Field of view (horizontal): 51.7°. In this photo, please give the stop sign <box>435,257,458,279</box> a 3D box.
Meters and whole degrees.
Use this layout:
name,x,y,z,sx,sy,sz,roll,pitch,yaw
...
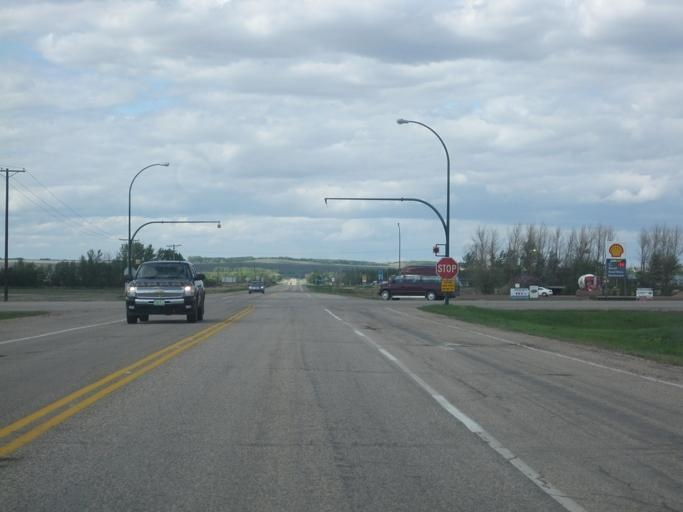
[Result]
name,x,y,z,sx,sy,sz,roll,pitch,yaw
stop sign,4.996,0.553,33.443,1.111,1.171,0.152,-1,6,3

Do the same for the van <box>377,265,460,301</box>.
name,x,y,z,sx,sy,sz,roll,pitch,yaw
van,5.604,2.313,54.653,5.017,2.105,3.466,2,-2,6

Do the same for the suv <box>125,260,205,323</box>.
name,x,y,z,sx,sy,sz,roll,pitch,yaw
suv,-6.063,1.129,24.653,1.615,1.235,2.850,0,-6,-3

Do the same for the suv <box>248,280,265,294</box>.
name,x,y,z,sx,sy,sz,roll,pitch,yaw
suv,-9.868,3.498,82.299,1.354,1.152,2.301,-1,-11,-3
